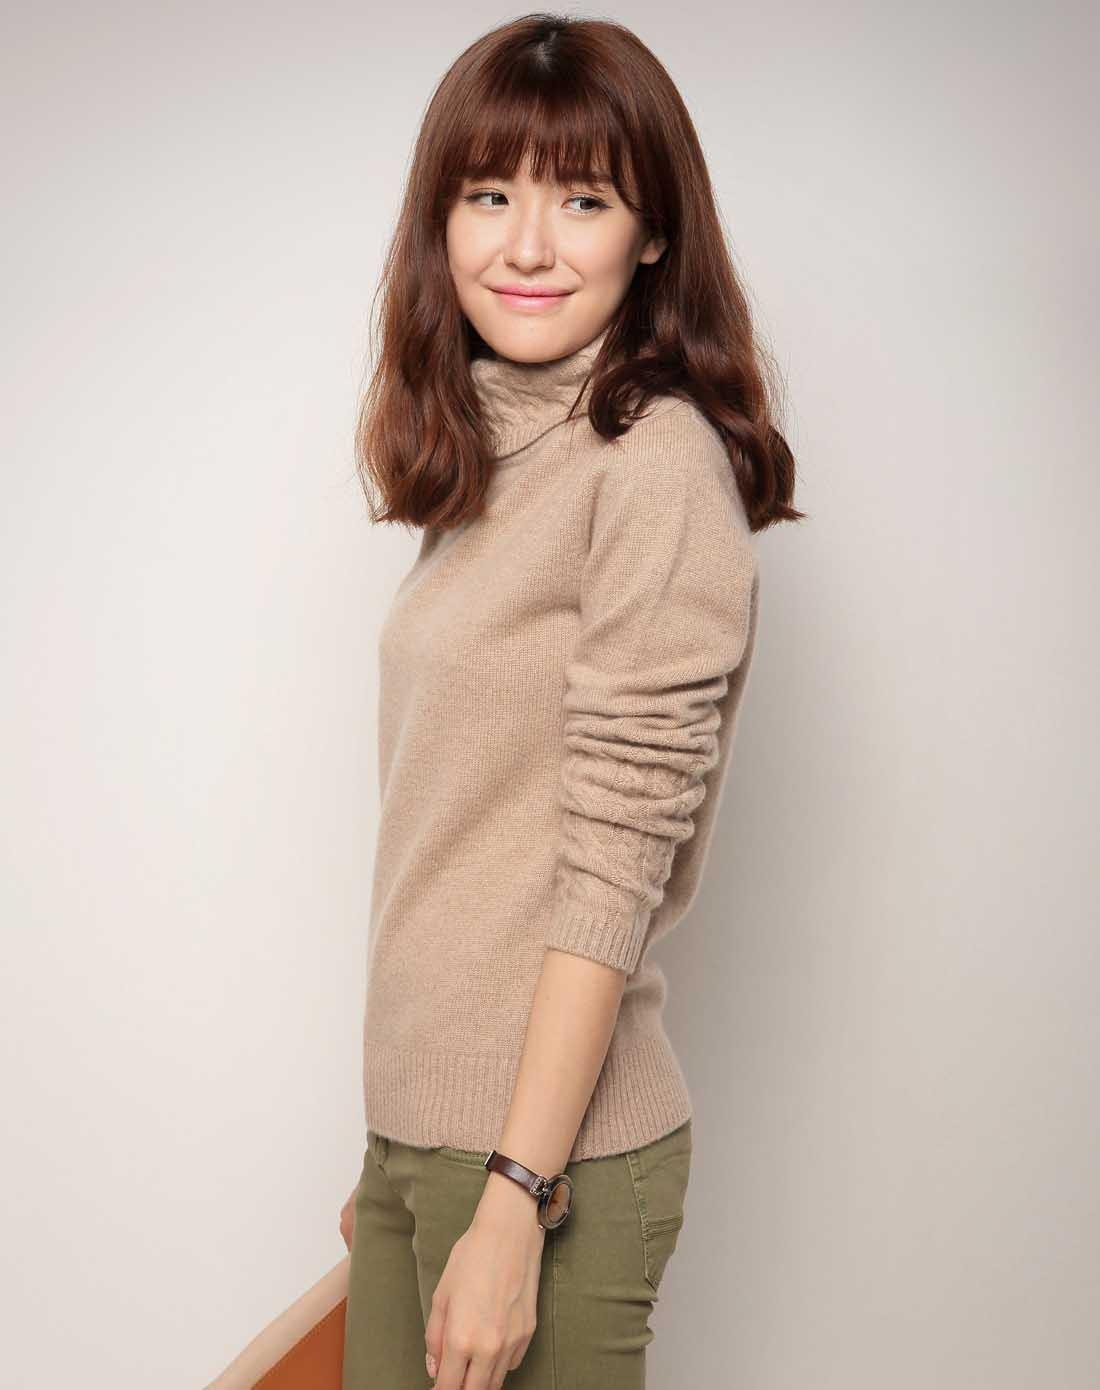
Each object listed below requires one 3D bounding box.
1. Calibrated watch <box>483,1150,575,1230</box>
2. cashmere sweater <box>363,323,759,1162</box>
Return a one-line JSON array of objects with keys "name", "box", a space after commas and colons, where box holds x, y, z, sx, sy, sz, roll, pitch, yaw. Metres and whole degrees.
[{"name": "Calibrated watch", "box": [-0.019, 0.401, 1.178, 0.085, 0.043, 0.075, 13, -7, -9]}, {"name": "cashmere sweater", "box": [-0.008, 0.035, 1.319, 0.335, 0.751, 0.130, 2, -9, 37]}]
